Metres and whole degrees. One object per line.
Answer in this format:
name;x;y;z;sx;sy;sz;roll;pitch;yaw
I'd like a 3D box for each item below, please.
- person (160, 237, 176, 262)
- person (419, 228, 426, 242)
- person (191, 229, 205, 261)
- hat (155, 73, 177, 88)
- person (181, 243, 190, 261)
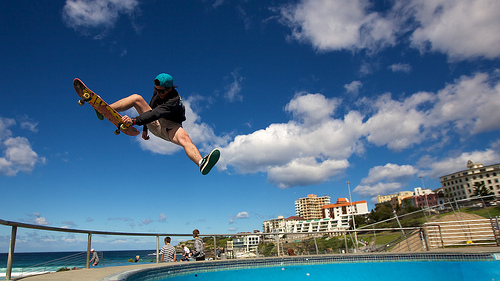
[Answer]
person;-3.561;4.714;11.151;0.682;1.010;0.606;-1;-28;-10
person;8.060;4.383;12.061;0.179;0.510;0.715;-16;-27;16
person;-2.314;4.699;11.192;0.578;1.627;0.629;-3;14;-7
hat;-2.503;-1.776;7.536;0.520;0.331;0.401;0;-26;-12
person;-2.941;5.055;11.682;0.383;0.697;0.602;1;-27;-14
